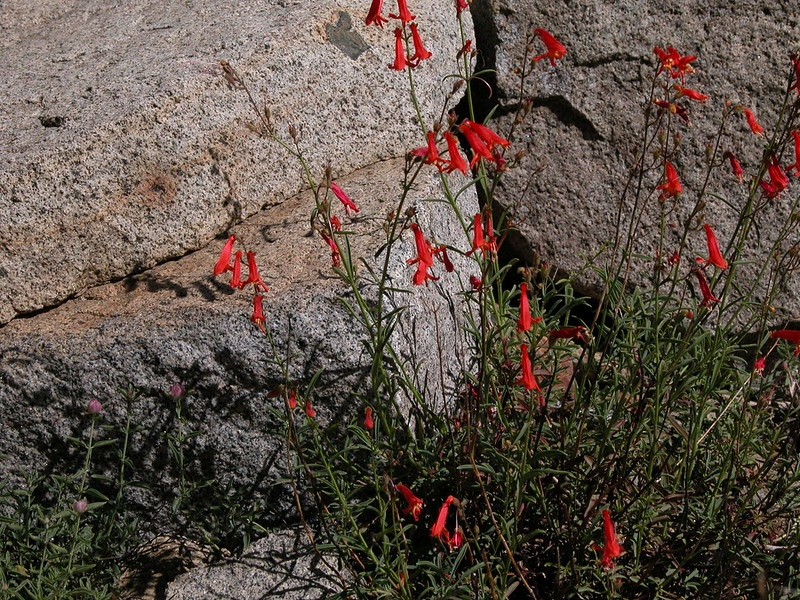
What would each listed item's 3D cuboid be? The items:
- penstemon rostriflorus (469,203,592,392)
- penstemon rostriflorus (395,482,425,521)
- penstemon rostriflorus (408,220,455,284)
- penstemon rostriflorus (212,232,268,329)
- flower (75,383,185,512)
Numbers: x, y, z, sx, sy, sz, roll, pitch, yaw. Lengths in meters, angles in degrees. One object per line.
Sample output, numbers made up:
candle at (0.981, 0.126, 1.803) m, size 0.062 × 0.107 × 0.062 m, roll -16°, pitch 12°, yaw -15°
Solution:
penstemon rostriflorus at (0.498, -0.003, 6.928) m, size 0.264 × 0.277 × 1.094 m, roll -14°, pitch 88°, yaw -5°
penstemon rostriflorus at (0.040, 0.772, 6.895) m, size 0.059 × 0.085 × 0.134 m, roll 22°, pitch 31°, yaw -5°
penstemon rostriflorus at (0.113, -0.129, 6.941) m, size 0.127 × 0.303 × 0.156 m, roll -12°, pitch 18°, yaw 14°
penstemon rostriflorus at (-0.676, -0.064, 7.356) m, size 0.165 × 0.369 × 0.137 m, roll 0°, pitch 50°, yaw -1°
flower at (-1.139, 0.687, 7.473) m, size 0.523 × 0.509 × 0.464 m, roll -10°, pitch 54°, yaw 0°
